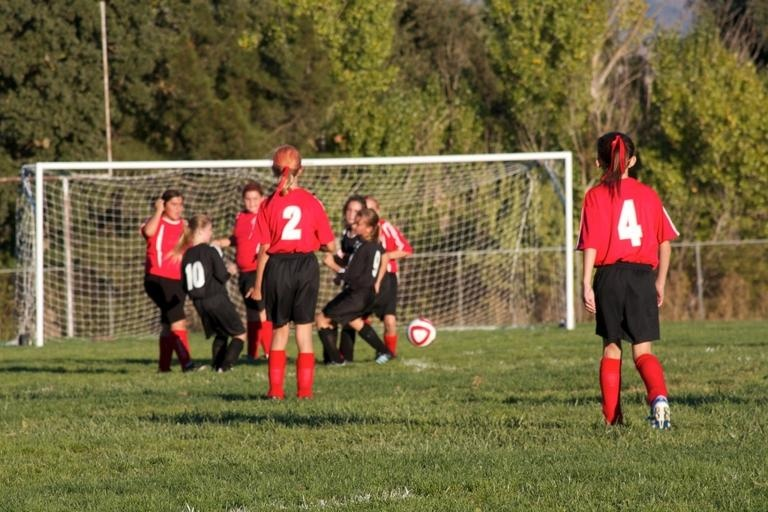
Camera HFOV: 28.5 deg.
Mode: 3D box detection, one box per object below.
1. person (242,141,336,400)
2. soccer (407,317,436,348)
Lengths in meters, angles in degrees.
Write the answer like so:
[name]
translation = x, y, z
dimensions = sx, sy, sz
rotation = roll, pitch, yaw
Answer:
[person]
translation = -1.634, 0.315, 26.618
dimensions = 1.302, 4.455, 0.524
rotation = -1, -5, -6
[soccer]
translation = 0.722, 1.485, 28.878
dimensions = 0.502, 0.522, 0.482
rotation = 19, 2, -25
